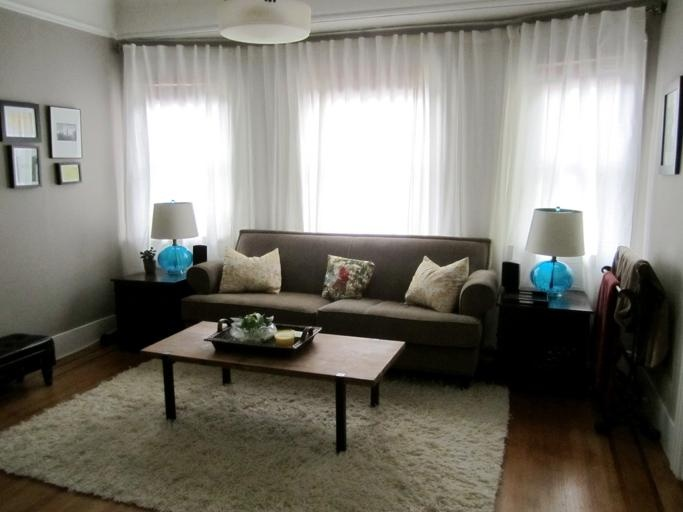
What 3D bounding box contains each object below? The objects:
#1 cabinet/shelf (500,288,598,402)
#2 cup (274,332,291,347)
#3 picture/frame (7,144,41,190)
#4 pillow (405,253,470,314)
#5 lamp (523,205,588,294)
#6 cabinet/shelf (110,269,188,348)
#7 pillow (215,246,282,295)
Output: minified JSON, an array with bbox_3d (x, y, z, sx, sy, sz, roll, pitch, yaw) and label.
[{"bbox_3d":[1.632,0.671,4.317,0.669,0.696,0.689,2,6,20],"label":"cabinet/shelf"},{"bbox_3d":[-0.366,0.521,3.446,0.115,0.063,0.176,1,10,-6],"label":"cup"},{"bbox_3d":[-2.637,-0.733,4.458,0.059,0.448,0.374,2,4,22],"label":"picture/frame"},{"bbox_3d":[0.757,0.208,4.316,0.442,0.385,0.384,10,13,38],"label":"pillow"},{"bbox_3d":[1.620,-0.033,4.145,0.401,0.653,0.310,3,10,5],"label":"lamp"},{"bbox_3d":[-1.720,0.451,5.042,0.583,0.677,0.693,-1,9,-4],"label":"cabinet/shelf"},{"bbox_3d":[-0.816,0.139,4.787,0.414,0.158,0.346,-1,48,-8],"label":"pillow"}]
